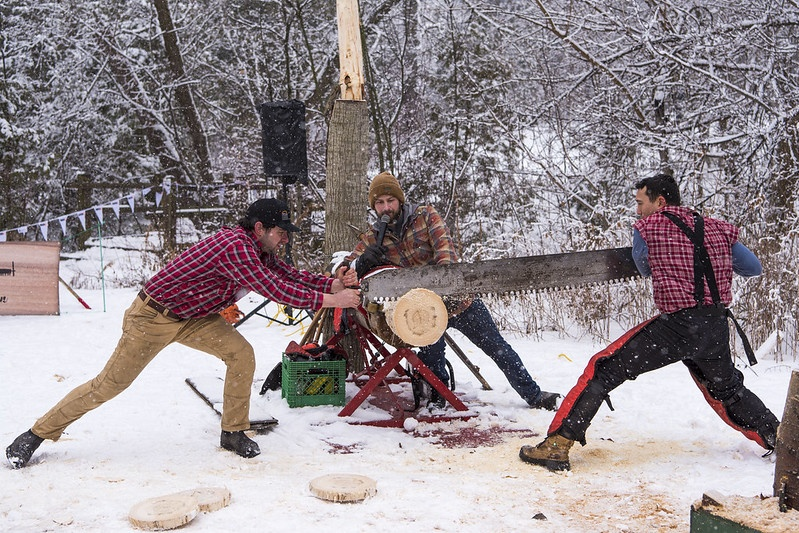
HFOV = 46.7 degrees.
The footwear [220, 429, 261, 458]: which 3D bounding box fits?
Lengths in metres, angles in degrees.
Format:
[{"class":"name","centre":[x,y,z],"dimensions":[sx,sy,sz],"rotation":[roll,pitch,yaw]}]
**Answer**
[{"class":"footwear","centre":[-1.896,2.128,11.134],"dimensions":[0.553,0.233,0.222],"rotation":[13,42,20]}]

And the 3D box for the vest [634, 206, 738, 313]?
[{"class":"vest","centre":[3.381,-0.077,10.903],"dimensions":[1.557,1.542,0.823],"rotation":[-1,-3,9]}]

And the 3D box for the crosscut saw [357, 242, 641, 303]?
[{"class":"crosscut saw","centre":[1.295,0.109,11.814],"dimensions":[4.486,0.600,0.339],"rotation":[-7,6,0]}]

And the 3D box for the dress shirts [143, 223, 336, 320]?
[{"class":"dress shirts","centre":[-1.907,0.112,11.391],"dimensions":[2.001,0.973,1.078],"rotation":[9,0,-7]}]

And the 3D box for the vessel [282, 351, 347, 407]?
[{"class":"vessel","centre":[-1.205,1.533,12.466],"dimensions":[1.114,0.545,1.157],"rotation":[1,-2,12]}]

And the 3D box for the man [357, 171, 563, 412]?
[{"class":"man","centre":[0.596,0.483,11.992],"dimensions":[1.925,3.827,1.462],"rotation":[-19,15,-1]}]

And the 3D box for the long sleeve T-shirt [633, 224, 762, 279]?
[{"class":"long sleeve T-shirt","centre":[3.572,-0.135,11.006],"dimensions":[0.741,0.515,0.988],"rotation":[-33,19,-24]}]

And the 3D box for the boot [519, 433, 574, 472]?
[{"class":"boot","centre":[1.730,2.135,11.003],"dimensions":[0.263,0.502,0.701],"rotation":[9,-2,-42]}]
